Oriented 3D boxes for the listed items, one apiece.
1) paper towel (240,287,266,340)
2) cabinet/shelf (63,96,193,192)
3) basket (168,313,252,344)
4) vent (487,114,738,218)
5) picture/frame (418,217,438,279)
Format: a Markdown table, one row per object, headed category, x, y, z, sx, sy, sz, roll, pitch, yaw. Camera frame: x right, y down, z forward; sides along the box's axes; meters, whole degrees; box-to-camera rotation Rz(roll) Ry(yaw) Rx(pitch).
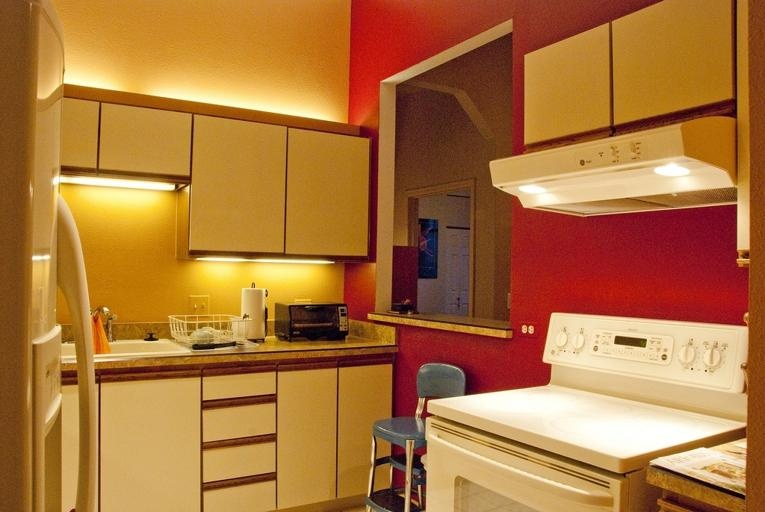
| category | x | y | z | sx | sy | sz | roll | pitch | yaw |
| --- | --- | --- | --- | --- | --- | --- | --- | --- | --- |
| paper towel | -0.853 | 0.375 | 3.799 | 0.178 | 0.361 | 0.162 | 0 | -3 | -6 |
| cabinet/shelf | -1.529 | -0.483 | 3.407 | 0.800 | 0.507 | 0.408 | 2 | -2 | -30 |
| basket | -1.182 | 0.459 | 3.797 | 0.321 | 0.121 | 0.255 | 0 | 1 | -27 |
| vent | 0.908 | -0.332 | 2.282 | 0.866 | 0.316 | 0.546 | 2 | 5 | 33 |
| picture/frame | 0.613 | -0.105 | 7.607 | 0.251 | 0.783 | 0.598 | 0 | 5 | 7 |
